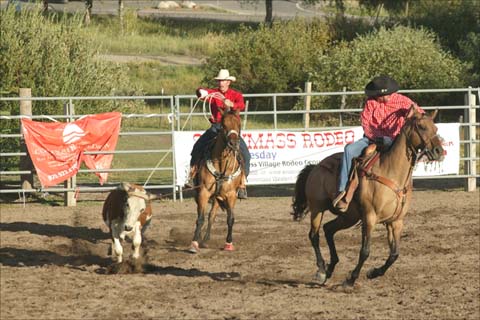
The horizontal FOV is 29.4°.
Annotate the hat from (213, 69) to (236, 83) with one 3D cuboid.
[{"bbox_3d":[-0.436,-2.797,30.016,0.603,0.376,0.522,-5,8,-42],"label":"hat"}]

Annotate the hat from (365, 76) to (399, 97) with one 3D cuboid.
[{"bbox_3d":[4.343,-2.265,27.999,1.017,0.658,0.344,1,6,7],"label":"hat"}]

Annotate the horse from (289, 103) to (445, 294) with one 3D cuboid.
[{"bbox_3d":[3.869,1.473,29.111,1.944,5.631,7.096,3,-1,-28],"label":"horse"}]

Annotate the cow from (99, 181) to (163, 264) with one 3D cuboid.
[{"bbox_3d":[-3.402,1.993,28.620,1.467,2.595,1.293,5,7,40],"label":"cow"}]

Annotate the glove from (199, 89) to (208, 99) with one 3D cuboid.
[{"bbox_3d":[-1.137,-2.158,29.760,0.239,0.313,0.120,12,2,-1],"label":"glove"}]
